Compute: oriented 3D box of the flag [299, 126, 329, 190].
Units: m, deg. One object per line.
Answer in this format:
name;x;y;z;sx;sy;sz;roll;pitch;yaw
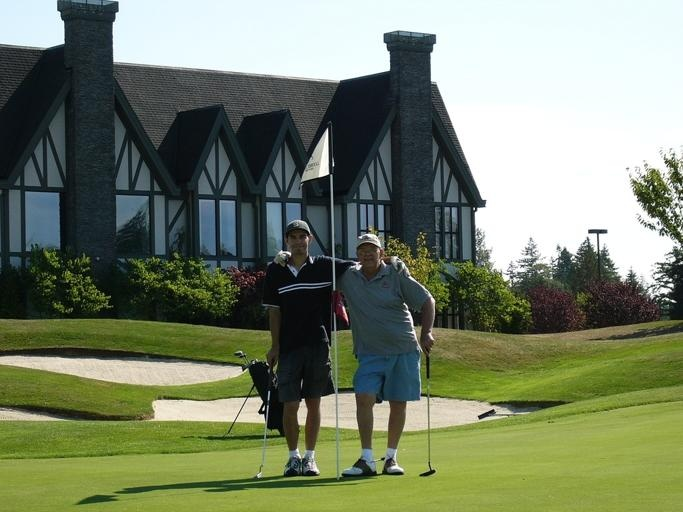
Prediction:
flag;-0.523;-1.977;26.899;0.561;1.198;1.643;-1;-8;-2
